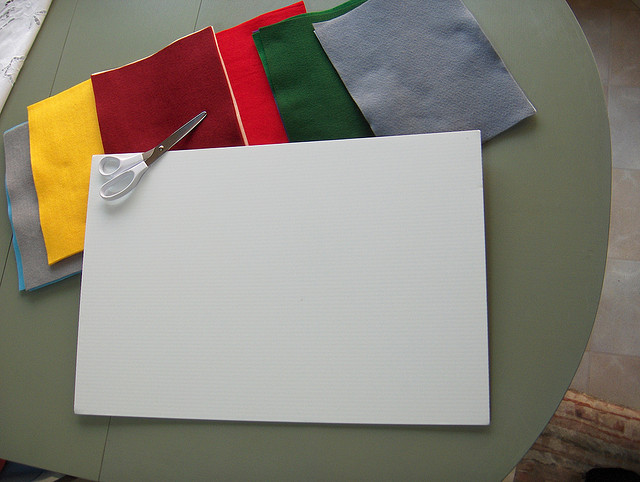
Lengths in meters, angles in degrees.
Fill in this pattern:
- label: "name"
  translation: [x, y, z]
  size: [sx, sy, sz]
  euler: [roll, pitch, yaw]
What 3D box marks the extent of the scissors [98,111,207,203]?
- label: "scissors"
  translation: [-0.371, -0.152, 1.271]
  size: [0.309, 0.035, 0.120]
  euler: [-36, 76, 5]
